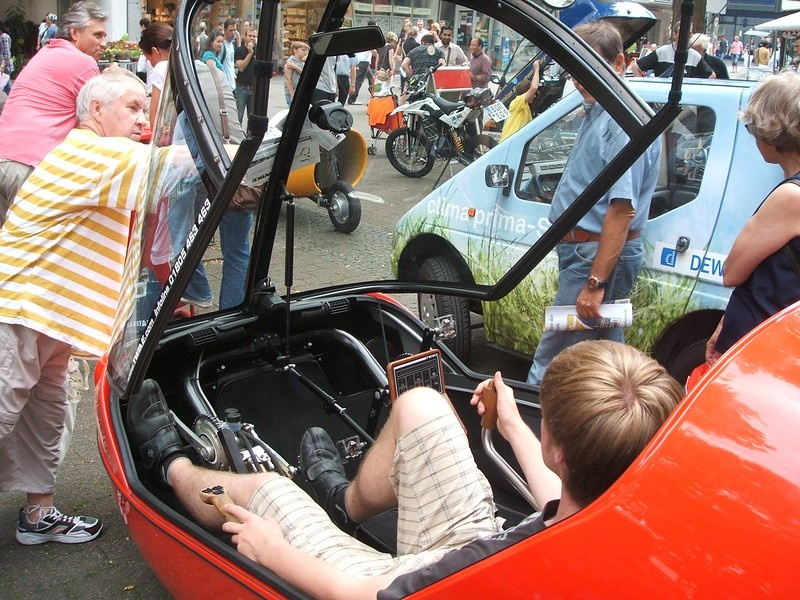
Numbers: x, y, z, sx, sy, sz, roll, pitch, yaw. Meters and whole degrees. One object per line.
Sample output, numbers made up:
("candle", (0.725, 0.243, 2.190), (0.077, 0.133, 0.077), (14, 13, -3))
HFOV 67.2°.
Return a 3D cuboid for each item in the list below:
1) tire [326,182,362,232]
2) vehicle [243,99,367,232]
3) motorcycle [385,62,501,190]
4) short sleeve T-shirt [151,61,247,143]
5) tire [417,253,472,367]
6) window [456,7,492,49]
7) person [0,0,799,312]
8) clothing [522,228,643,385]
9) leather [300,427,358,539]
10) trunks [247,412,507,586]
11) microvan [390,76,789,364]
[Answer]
("tire", (-0.486, -0.820, 5.339), (0.183, 0.401, 0.450), (-14, 70, -26))
("vehicle", (-0.569, -1.114, 5.117), (0.701, 0.850, 1.462), (9, 13, -26))
("motorcycle", (0.397, -1.675, 5.821), (0.639, 1.007, 1.512), (-22, 28, -38))
("short sleeve T-shirt", (-0.717, -0.729, 2.218), (0.222, 0.349, 0.173), (-19, 14, -34))
("tire", (0.412, -0.108, 4.771), (0.280, 0.958, 0.853), (-13, 53, 11))
("window", (0.300, -1.093, 2.426), (0.163, 0.196, 0.013), (39, 70, 21))
("person", (-0.018, -0.706, 3.297), (2.691, 1.571, 1.952), (19, 33, 11))
("clothing", (0.902, -0.012, 2.887), (0.446, 0.857, 0.396), (5, 49, 4))
("leather", (-0.326, 0.760, 2.659), (0.163, 0.207, 0.530), (-13, 60, -11))
("trunks", (0.097, 0.593, 2.332), (0.711, 0.209, 0.635), (17, 11, 37))
("microvan", (1.348, -0.621, 4.258), (1.604, 1.769, 2.946), (-25, 29, -38))
